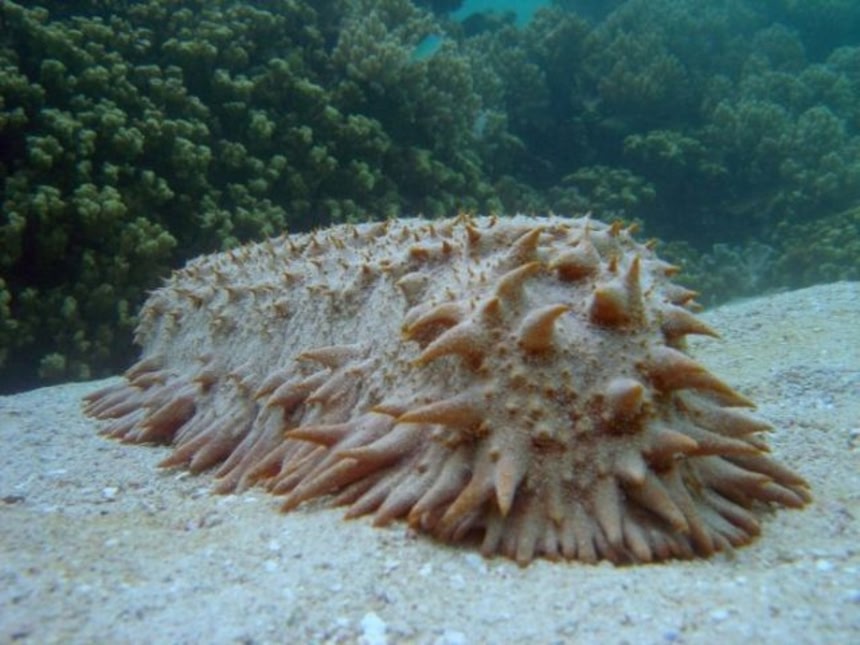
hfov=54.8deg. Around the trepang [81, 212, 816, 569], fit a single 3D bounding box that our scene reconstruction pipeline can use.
[{"bbox_3d":[0.097,0.485,6.414,5.085,2.429,2.090,1,17,31],"label":"trepang"}]
